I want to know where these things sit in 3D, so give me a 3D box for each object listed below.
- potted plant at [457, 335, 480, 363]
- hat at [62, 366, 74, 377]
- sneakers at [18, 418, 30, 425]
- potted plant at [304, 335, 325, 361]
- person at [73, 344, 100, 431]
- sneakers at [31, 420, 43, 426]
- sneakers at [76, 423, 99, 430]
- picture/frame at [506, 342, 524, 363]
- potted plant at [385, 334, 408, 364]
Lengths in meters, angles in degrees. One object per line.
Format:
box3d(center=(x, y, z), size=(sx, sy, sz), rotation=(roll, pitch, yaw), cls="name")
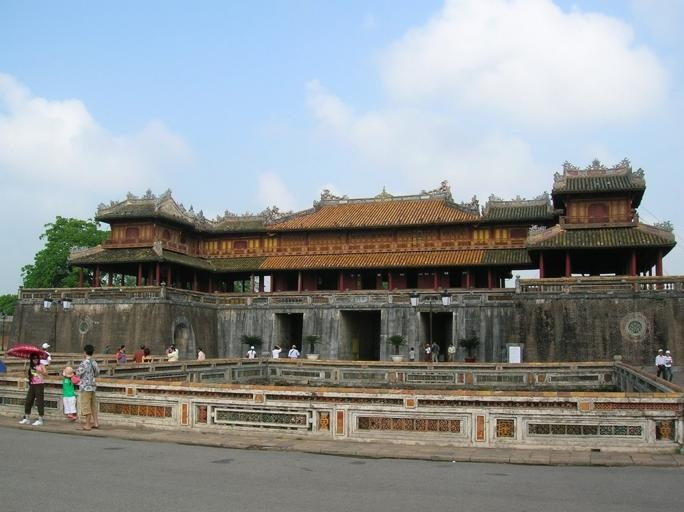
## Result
box3d(center=(6.504, 4.672, 44.590), size=(1.205, 1.215, 1.130), rotation=(-2, -13, 4), cls="potted plant")
box3d(center=(-6.936, 2.942, 22.216), size=(0.341, 0.098, 0.334), rotation=(8, 2, -21), cls="hat")
box3d(center=(-8.094, 4.196, 22.327), size=(0.328, 0.137, 0.197), rotation=(-1, -3, 35), cls="sneakers")
box3d(center=(-1.604, 4.927, 48.066), size=(1.207, 1.380, 1.085), rotation=(0, -12, 2), cls="potted plant")
box3d(center=(-6.385, 3.247, 22.002), size=(0.541, 1.586, 1.184), rotation=(1, 0, -16), cls="person")
box3d(center=(-7.685, 4.186, 22.154), size=(0.277, 0.116, 0.102), rotation=(-3, -5, 16), cls="sneakers")
box3d(center=(-6.308, 4.210, 21.678), size=(0.539, 0.207, 0.190), rotation=(7, -13, 10), cls="sneakers")
box3d(center=(7.856, 4.410, 40.220), size=(0.933, 1.265, 0.888), rotation=(0, -11, 3), cls="picture/frame")
box3d(center=(2.793, 4.679, 45.701), size=(1.109, 1.269, 1.086), rotation=(4, -9, -26), cls="potted plant")
